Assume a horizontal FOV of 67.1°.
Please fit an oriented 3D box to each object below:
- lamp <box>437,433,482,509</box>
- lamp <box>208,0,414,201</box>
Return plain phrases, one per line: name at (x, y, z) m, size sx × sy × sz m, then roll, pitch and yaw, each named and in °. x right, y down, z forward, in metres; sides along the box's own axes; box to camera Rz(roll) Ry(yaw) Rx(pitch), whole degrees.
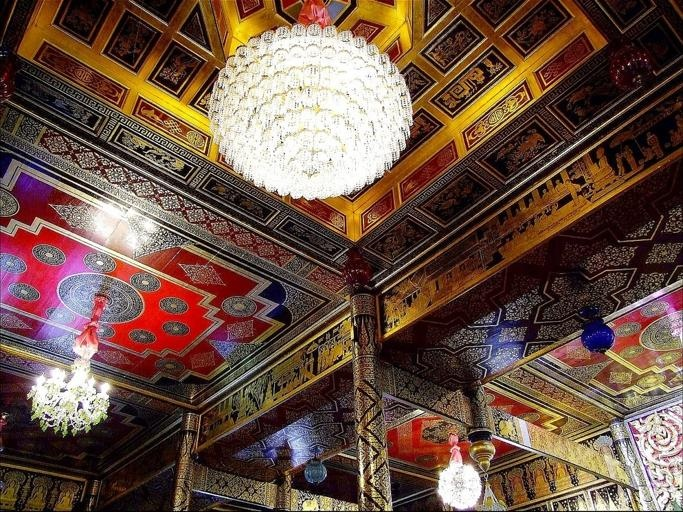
lamp at (2.062, 3.893, 9.232) m, size 0.687 × 1.310 × 1.769 m, roll -8°, pitch -38°, yaw 8°
lamp at (-0.340, -1.531, 5.398) m, size 2.039 × 1.153 × 1.299 m, roll -2°, pitch -38°, yaw 0°
